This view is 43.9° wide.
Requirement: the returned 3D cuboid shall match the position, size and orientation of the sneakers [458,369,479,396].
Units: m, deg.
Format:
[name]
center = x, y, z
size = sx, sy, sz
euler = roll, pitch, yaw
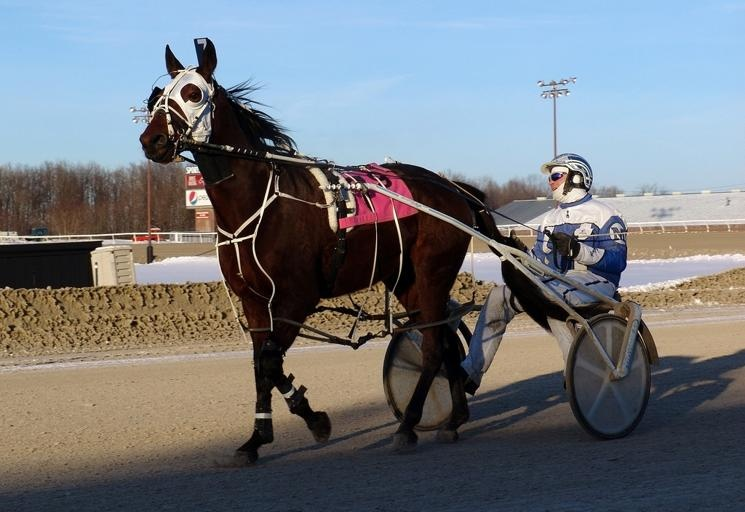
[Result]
[sneakers]
center = 0.922, 1.238, 8.864
size = 0.173, 0.257, 0.138
euler = 5, 20, 17
